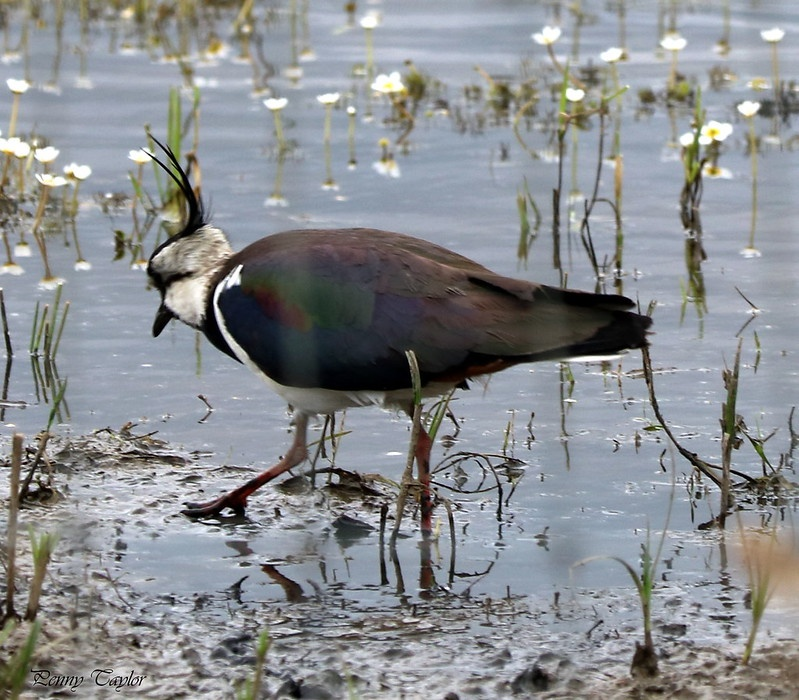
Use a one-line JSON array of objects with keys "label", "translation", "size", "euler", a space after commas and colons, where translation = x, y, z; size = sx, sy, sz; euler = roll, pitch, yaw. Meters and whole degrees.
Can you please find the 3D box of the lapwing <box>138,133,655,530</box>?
[{"label": "lapwing", "translation": [-0.090, -0.004, 5.370], "size": [2.549, 1.581, 0.879], "euler": [1, 14, 17]}]
